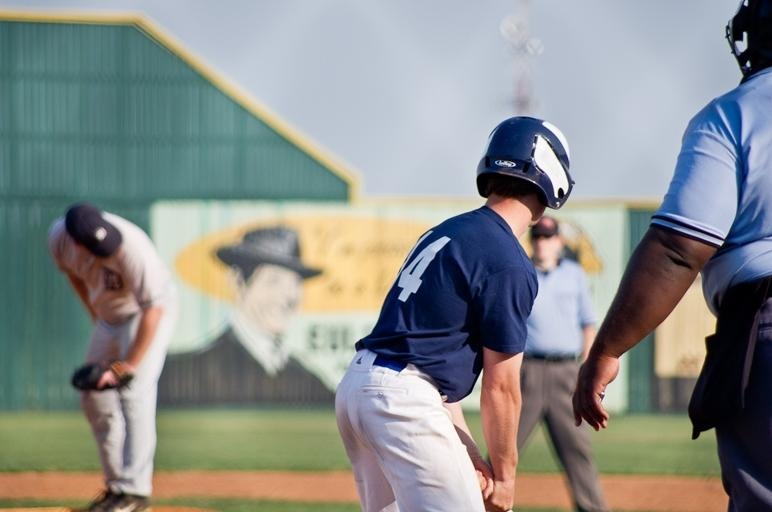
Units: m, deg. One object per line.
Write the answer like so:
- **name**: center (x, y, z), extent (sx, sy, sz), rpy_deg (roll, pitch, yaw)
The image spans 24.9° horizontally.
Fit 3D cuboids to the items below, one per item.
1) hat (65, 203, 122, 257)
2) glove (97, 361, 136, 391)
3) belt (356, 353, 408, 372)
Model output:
- **hat**: center (-3.507, -0.342, 20.975), extent (0.699, 0.459, 0.342), rpy_deg (41, -9, 1)
- **glove**: center (-3.174, 1.396, 20.936), extent (0.282, 0.389, 0.114), rpy_deg (-13, -11, -7)
- **belt**: center (0.012, 1.147, 19.414), extent (0.391, 0.103, 0.236), rpy_deg (17, -6, 17)
